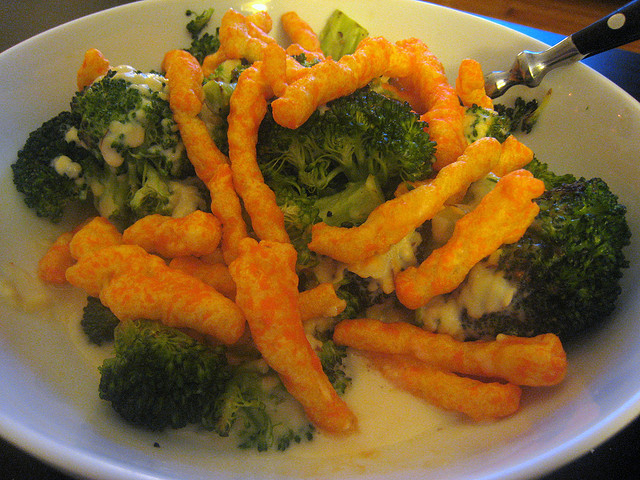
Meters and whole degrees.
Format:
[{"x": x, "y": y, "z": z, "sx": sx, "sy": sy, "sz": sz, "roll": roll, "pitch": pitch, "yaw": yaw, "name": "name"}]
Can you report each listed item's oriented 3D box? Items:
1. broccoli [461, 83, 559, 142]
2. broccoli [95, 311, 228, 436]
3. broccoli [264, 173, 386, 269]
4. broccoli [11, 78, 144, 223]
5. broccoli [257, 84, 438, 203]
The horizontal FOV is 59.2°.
[{"x": 0.673, "y": -0.445, "z": 1.970, "sx": 0.281, "sy": 0.140, "sz": 0.123, "roll": -28, "pitch": 56, "yaw": 8, "name": "broccoli"}, {"x": -0.422, "y": 0.370, "z": 1.541, "sx": 0.357, "sy": 0.131, "sz": 0.282, "roll": 14, "pitch": 61, "yaw": -3, "name": "broccoli"}, {"x": -0.001, "y": -0.097, "z": 1.761, "sx": 0.437, "sy": 0.163, "sz": 0.302, "roll": -5, "pitch": 69, "yaw": -33, "name": "broccoli"}, {"x": -0.736, "y": -0.300, "z": 1.874, "sx": 0.342, "sy": 0.123, "sz": 0.500, "roll": 23, "pitch": 83, "yaw": 15, "name": "broccoli"}, {"x": 0.091, "y": -0.254, "z": 1.734, "sx": 0.433, "sy": 0.331, "sz": 0.247, "roll": 11, "pitch": 99, "yaw": -2, "name": "broccoli"}]
